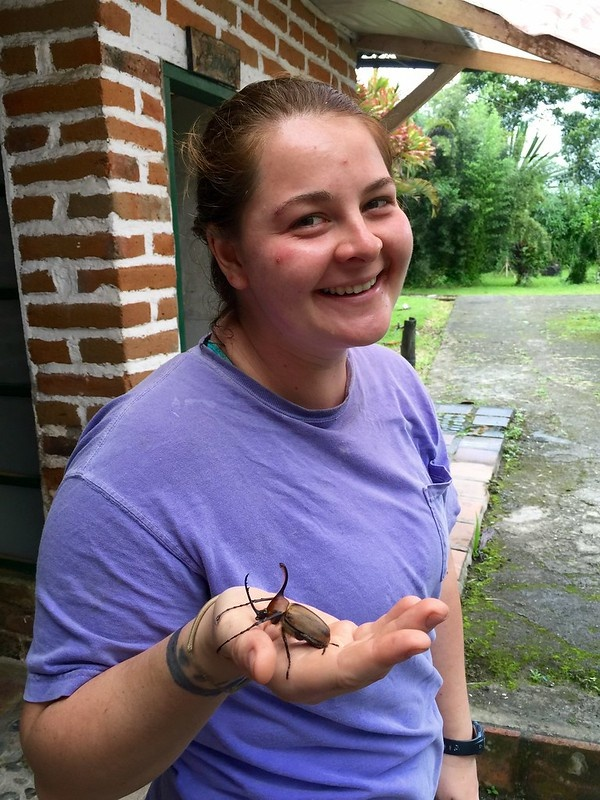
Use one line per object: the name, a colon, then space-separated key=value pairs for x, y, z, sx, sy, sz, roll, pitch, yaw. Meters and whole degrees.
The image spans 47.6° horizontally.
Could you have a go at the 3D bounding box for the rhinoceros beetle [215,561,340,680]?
rhinoceros beetle: x=-0.028 y=0.331 z=1.033 sx=0.151 sy=0.086 sz=0.141 roll=14 pitch=4 yaw=4

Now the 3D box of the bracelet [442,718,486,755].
bracelet: x=0.431 y=0.888 z=1.802 sx=0.097 sy=0.088 sz=0.031 roll=-6 pitch=51 yaw=3
